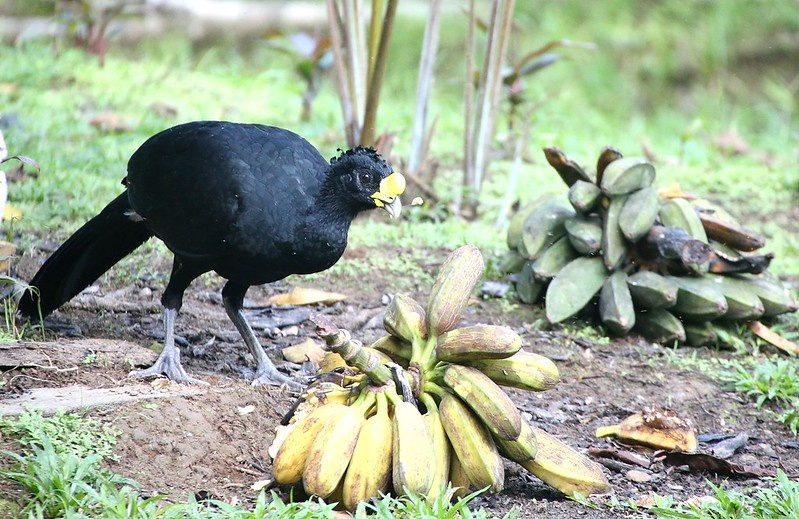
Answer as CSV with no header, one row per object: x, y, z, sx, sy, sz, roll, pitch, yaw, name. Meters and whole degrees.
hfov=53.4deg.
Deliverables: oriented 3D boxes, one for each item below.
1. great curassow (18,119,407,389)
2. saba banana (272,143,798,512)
-1.249,-0.044,4.996,2.702,1.471,0.959,10,3,21,great curassow
0.599,0.504,4.887,2.565,2.210,3.736,-2,-1,8,saba banana
